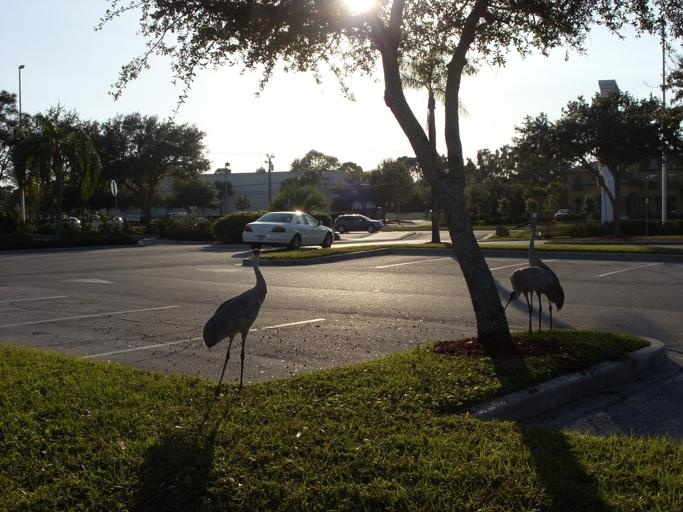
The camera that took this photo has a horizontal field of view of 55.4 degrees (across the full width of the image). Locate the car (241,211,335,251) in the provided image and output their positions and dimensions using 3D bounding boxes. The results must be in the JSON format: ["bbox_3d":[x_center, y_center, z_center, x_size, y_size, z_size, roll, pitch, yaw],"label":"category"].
[{"bbox_3d":[-2.338,-1.115,29.371,1.400,1.628,4.961,4,8,35],"label":"car"}]
